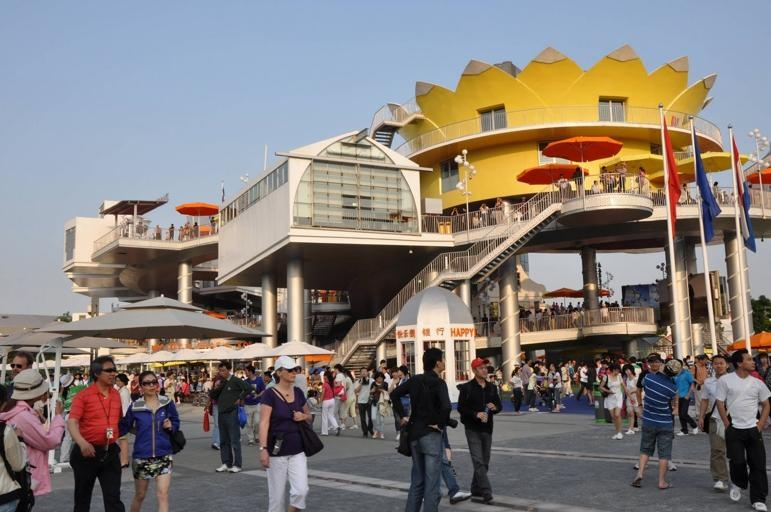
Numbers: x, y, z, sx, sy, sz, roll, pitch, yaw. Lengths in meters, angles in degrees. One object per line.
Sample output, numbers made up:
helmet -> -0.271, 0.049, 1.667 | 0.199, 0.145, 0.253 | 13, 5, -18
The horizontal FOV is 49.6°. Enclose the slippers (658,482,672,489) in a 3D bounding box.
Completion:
slippers -> 5.355, 4.369, 15.963 | 0.181, 0.102, 0.420 | -9, -12, 44

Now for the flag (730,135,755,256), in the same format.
flag -> 14.125, -2.457, 32.868 | 0.867, 4.996, 0.454 | -24, 18, -35

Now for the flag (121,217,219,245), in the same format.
flag -> -13.423, -1.314, 52.134 | 7.863, 1.782, 2.563 | 0, -3, -18

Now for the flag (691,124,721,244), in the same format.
flag -> 12.382, -2.698, 32.273 | 0.743, 4.467, 2.637 | -4, -10, 20

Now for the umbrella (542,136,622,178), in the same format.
umbrella -> 9.334, -5.028, 39.521 | 2.955, 1.138, 2.930 | 2, -9, -14

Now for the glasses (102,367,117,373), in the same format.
glasses -> -4.625, 1.917, 14.032 | 0.130, 0.088, 0.304 | -2, -9, 14

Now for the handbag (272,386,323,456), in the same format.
handbag -> -1.440, 2.762, 13.815 | 0.753, 1.015, 0.243 | 1, -9, -6

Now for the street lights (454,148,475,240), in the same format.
street lights -> 4.423, -4.051, 45.795 | 1.000, 3.305, 0.792 | 14, -28, -29

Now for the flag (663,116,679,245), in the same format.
flag -> 11.072, -2.917, 32.335 | 0.493, 4.679, 1.913 | -3, -10, 19
